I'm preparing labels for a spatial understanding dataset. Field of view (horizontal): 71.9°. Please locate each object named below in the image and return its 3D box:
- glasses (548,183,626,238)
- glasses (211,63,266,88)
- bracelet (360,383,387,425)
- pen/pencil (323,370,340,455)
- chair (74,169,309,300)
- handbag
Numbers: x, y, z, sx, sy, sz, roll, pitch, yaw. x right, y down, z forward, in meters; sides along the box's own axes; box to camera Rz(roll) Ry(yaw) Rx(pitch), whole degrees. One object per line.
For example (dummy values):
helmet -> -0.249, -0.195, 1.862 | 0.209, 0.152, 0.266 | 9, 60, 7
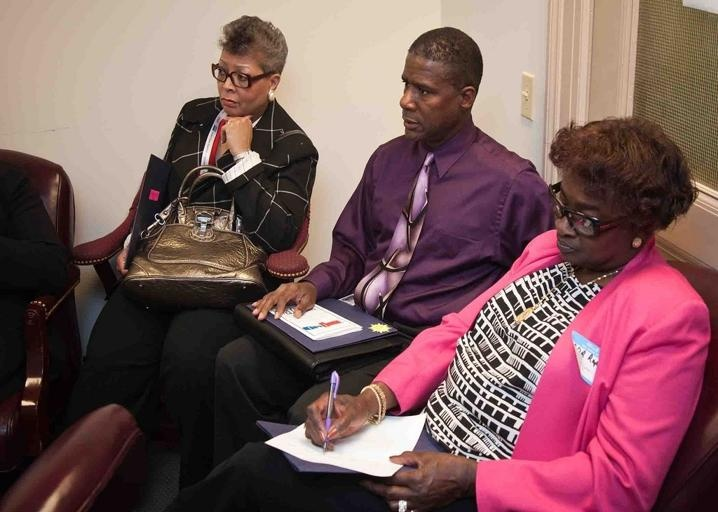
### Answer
glasses -> 0.540, -0.098, 1.221 | 0.058, 0.075, 0.181 | 3, 17, -38
glasses -> -0.534, -0.841, 2.330 | 0.164, 0.055, 0.176 | 21, 28, 21
bracelet -> 0.047, 0.426, 1.420 | 0.067, 0.031, 0.092 | 13, 56, -29
pen/pencil -> -0.073, 0.386, 1.296 | 0.022, 0.260, 0.027 | 5, -4, 26
chair -> -0.778, -0.224, 2.496 | 0.737, 0.949, 0.759 | 9, 17, 9
handbag -> -0.690, 0.006, 2.105 | 0.418, 0.202, 0.442 | 2, 40, 1
